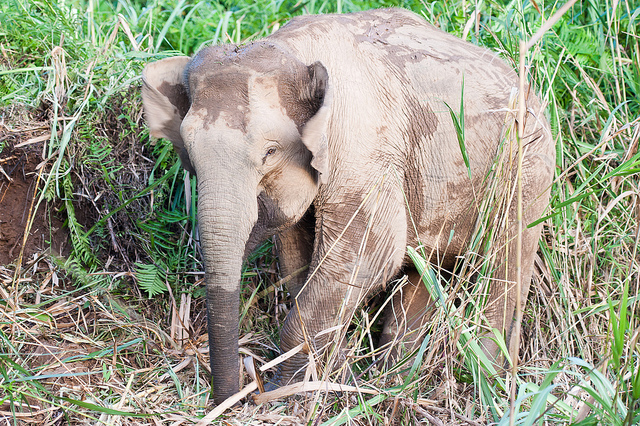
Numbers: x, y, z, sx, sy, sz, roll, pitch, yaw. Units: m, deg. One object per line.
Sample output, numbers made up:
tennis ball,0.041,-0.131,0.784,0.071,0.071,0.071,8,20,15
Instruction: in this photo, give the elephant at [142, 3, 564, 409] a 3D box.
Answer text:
elephant,0.176,-0.054,2.627,1.488,1.331,1.246,-12,42,-14
